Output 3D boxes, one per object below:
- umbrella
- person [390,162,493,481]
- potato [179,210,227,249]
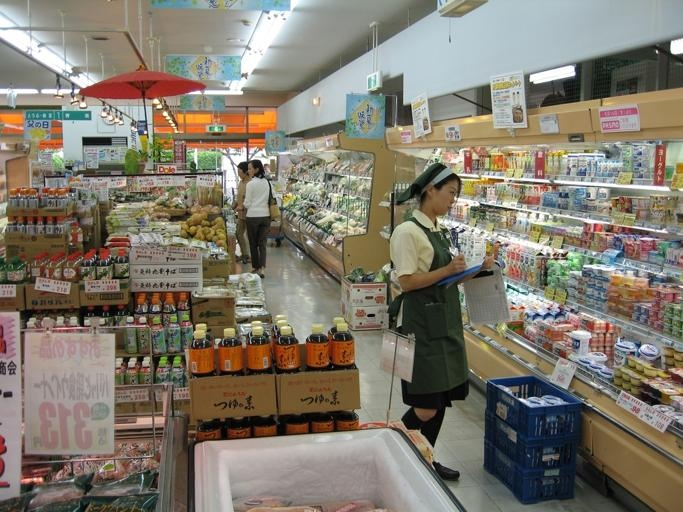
[{"bbox_3d":[-3.242,-2.709,7.899,1.841,0.823,1.902,0,27,-3],"label":"umbrella"},{"bbox_3d":[0.541,0.338,2.957,0.469,1.777,0.432,-3,7,11],"label":"person"},{"bbox_3d":[-1.857,-0.290,6.392,0.575,0.154,0.608,2,30,-14],"label":"potato"}]
